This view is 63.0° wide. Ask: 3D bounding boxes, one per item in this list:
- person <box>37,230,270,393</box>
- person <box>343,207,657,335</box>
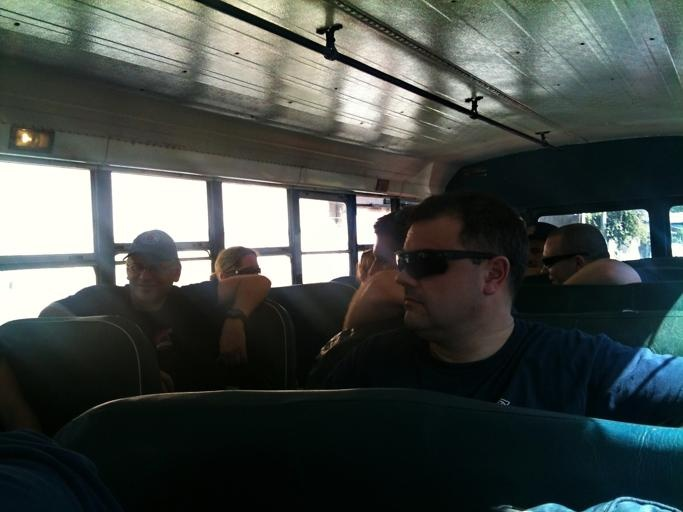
[{"bbox_3d":[-1.295,0.371,3.744,1.197,1.346,0.450,-9,-34,-29],"label":"person"},{"bbox_3d":[0.954,0.079,2.984,1.193,0.344,1.189,-1,-10,27],"label":"person"}]
